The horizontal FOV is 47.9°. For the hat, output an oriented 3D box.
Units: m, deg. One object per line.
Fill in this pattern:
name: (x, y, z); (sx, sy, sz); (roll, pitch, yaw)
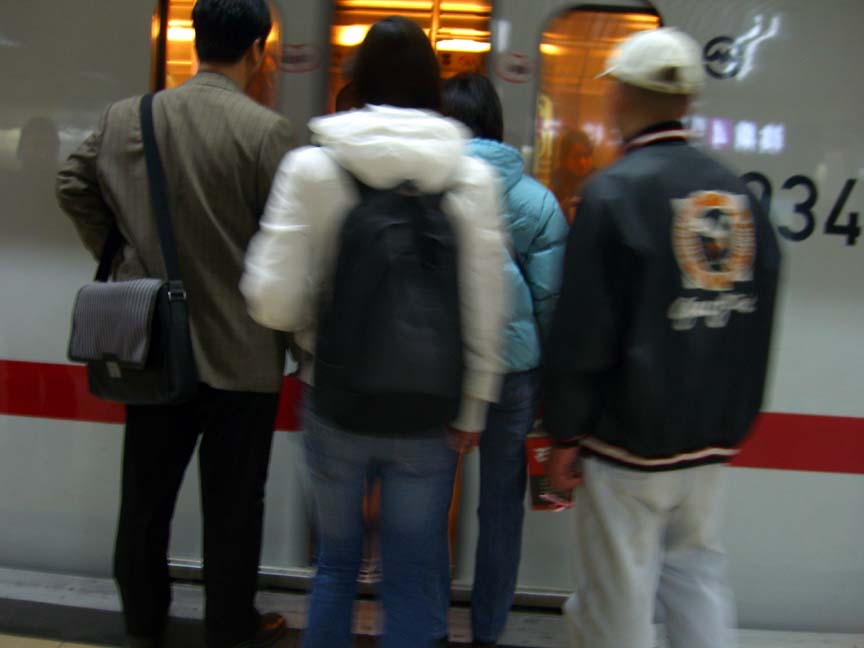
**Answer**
hat: (0.705, -0.832, 3.163); (0.276, 0.146, 0.205); (19, 24, 22)

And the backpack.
backpack: (-0.124, -0.050, 3.046); (0.468, 0.779, 0.159); (4, 13, 0)

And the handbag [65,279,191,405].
handbag: (-1.084, 0.050, 3.521); (0.487, 0.446, 0.142); (9, 14, 23)
